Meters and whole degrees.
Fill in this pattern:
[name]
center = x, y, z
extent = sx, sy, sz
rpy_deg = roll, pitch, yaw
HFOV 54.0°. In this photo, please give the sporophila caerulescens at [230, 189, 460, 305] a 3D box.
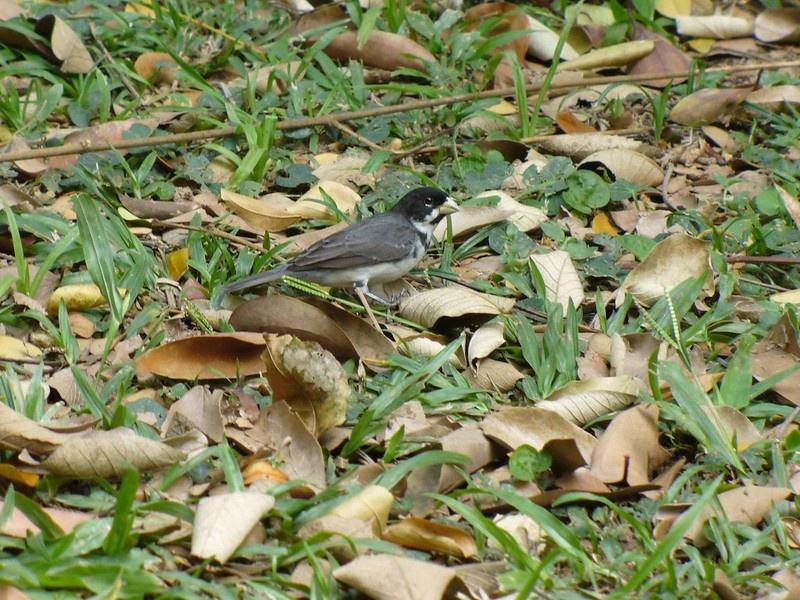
[sporophila caerulescens]
center = -0.129, -0.284, 4.603
extent = 1.176, 0.296, 0.489
rpy_deg = -36, 73, -23
